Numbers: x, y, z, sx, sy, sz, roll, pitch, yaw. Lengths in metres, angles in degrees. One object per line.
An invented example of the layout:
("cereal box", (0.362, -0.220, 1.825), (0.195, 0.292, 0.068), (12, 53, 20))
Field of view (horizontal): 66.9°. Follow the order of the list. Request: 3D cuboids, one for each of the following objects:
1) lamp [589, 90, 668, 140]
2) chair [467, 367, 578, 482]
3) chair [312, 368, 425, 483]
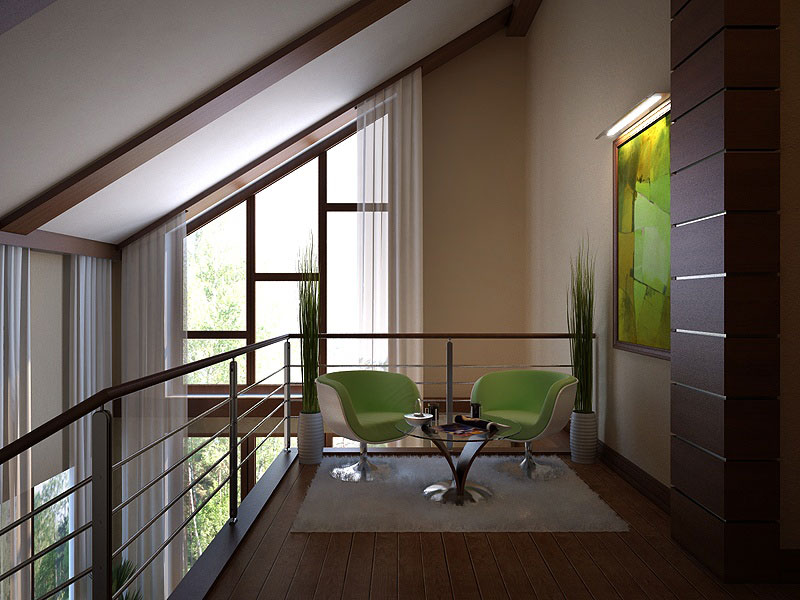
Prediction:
("lamp", (1.673, -1.334, 4.452), (0.290, 0.267, 0.766), (1, 11, 1))
("chair", (0.980, 0.971, 4.747), (0.645, 0.825, 0.712), (0, 1, -43))
("chair", (-0.277, 0.991, 4.748), (0.623, 0.818, 0.743), (0, 0, 40))
